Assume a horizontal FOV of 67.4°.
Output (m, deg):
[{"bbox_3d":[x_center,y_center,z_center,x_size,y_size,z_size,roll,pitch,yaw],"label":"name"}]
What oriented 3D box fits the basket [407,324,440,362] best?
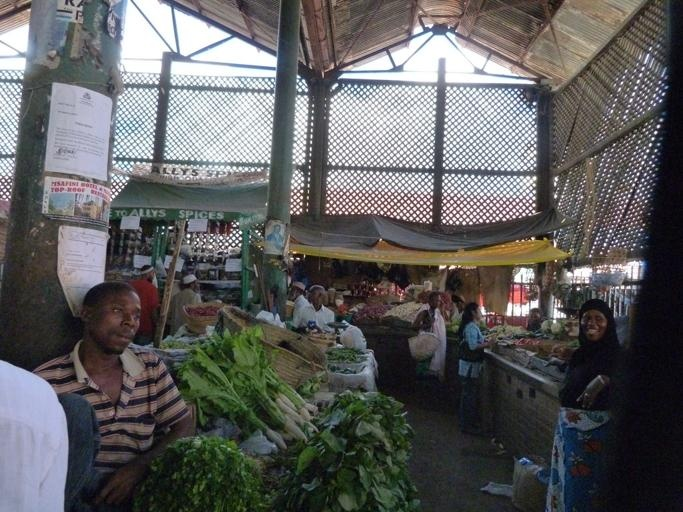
[{"bbox_3d":[1.155,1.214,7.287,0.518,0.605,0.346,4,-3,28],"label":"basket"}]
